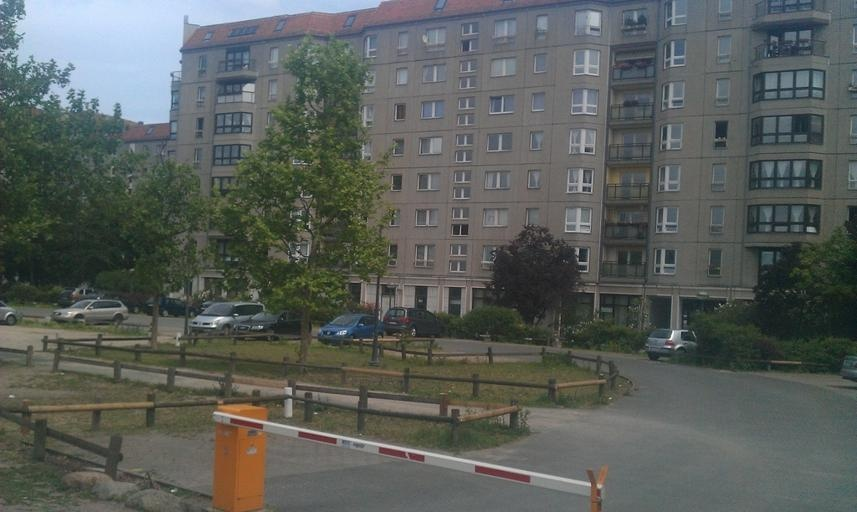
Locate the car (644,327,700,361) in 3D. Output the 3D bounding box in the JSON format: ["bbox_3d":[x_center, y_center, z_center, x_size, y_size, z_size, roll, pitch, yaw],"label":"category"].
[{"bbox_3d":[17.250,6.362,77.035,3.402,2.279,1.995,2,-4,10],"label":"car"}]
